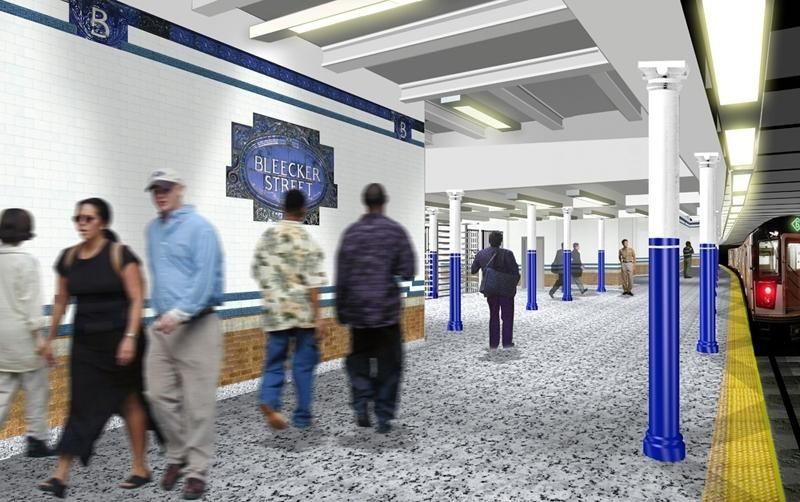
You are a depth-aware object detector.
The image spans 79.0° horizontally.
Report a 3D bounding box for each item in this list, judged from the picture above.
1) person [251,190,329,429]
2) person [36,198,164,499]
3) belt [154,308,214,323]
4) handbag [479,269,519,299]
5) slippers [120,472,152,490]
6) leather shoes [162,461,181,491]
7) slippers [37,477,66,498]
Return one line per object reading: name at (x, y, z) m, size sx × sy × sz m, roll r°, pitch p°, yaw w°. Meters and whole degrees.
person at (-1.189, 0.821, 5.200) m, size 0.726 × 2.285 × 0.329 m, roll 0°, pitch 1°, yaw -15°
person at (-2.587, 0.857, 4.235) m, size 0.900 × 2.642 × 0.417 m, roll 0°, pitch 1°, yaw -6°
belt at (-1.793, 0.565, 4.225) m, size 0.296 × 0.064 × 0.200 m, roll -6°, pitch -1°, yaw 10°
handbag at (1.799, 0.586, 8.711) m, size 0.665 × 0.407 × 0.343 m, roll 13°, pitch 7°, yaw -3°
slippers at (-2.333, 2.057, 4.321) m, size 0.279 × 0.065 × 0.118 m, roll -1°, pitch 6°, yaw -17°
leather shoes at (-2.024, 1.997, 4.255) m, size 0.128 × 0.133 × 0.344 m, roll 2°, pitch -12°, yaw -7°
slippers at (-2.962, 1.990, 4.124) m, size 0.294 × 0.143 × 0.127 m, roll 4°, pitch -9°, yaw 36°
